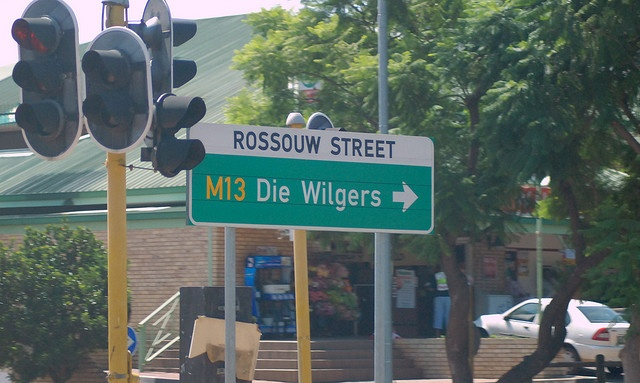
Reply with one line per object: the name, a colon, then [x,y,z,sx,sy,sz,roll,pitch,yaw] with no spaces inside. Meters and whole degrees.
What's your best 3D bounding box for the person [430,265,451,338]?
person: [4.124,3.646,58.455,0.749,2.036,0.735,2,-2,-1]
